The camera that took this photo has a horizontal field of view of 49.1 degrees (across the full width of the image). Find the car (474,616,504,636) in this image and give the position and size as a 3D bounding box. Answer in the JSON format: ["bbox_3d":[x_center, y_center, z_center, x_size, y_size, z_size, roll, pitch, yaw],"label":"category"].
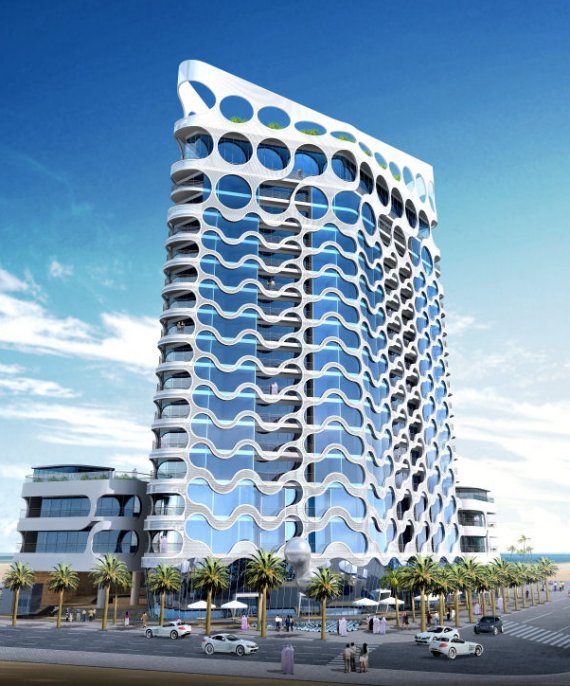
[{"bbox_3d":[16.864,23.797,52.062,1.678,1.216,2.849,-10,-22,31],"label":"car"}]

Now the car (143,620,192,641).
[{"bbox_3d":[-8.968,22.348,47.925,2.950,0.959,4.284,2,-18,0],"label":"car"}]

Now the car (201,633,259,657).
[{"bbox_3d":[-3.339,18.427,37.694,2.619,0.851,1.367,-5,-20,15],"label":"car"}]

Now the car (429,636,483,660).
[{"bbox_3d":[10.063,18.325,37.061,2.840,0.867,1.383,13,-31,-24],"label":"car"}]
